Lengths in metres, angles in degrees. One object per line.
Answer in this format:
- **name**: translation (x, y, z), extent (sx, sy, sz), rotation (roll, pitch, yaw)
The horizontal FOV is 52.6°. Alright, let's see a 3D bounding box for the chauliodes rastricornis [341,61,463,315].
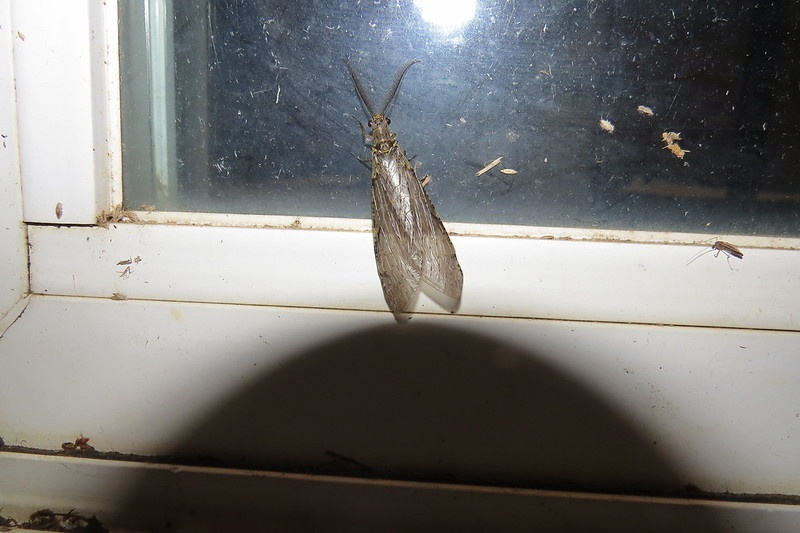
- **chauliodes rastricornis**: translation (-0.008, -0.267, 2.052), extent (0.221, 0.749, 0.142), rotation (18, -101, 14)

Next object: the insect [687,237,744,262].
- **insect**: translation (0.733, -0.036, 1.850), extent (0.078, 0.060, 0.024), rotation (-3, -79, 5)
